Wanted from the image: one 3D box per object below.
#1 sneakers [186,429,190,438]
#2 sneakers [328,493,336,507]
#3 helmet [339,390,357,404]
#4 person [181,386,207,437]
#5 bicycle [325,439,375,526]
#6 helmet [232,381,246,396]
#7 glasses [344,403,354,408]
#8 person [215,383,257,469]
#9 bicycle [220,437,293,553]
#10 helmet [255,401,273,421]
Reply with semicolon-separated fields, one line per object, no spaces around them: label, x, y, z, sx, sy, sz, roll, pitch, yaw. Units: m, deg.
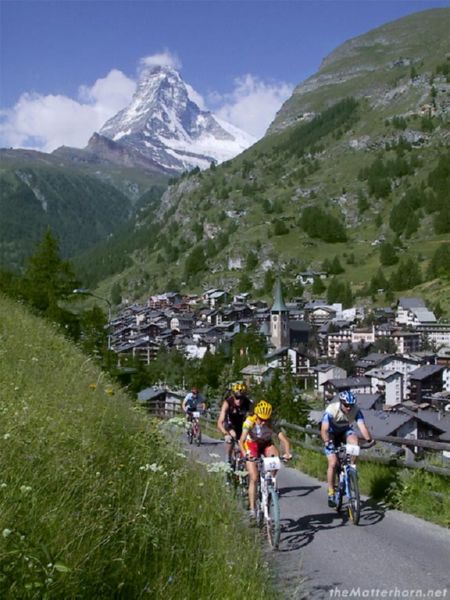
sneakers;-1.178;4.215;20.697;0.126;0.187;0.268;1;-11;-7
sneakers;1.674;3.110;10.121;0.075;0.106;0.235;3;13;5
helmet;1.855;1.487;9.856;0.220;0.220;0.256;-1;-3;7
person;-0.814;3.437;19.709;0.842;1.297;1.913;0;-7;-9
bicycle;1.832;2.864;9.987;0.561;0.896;1.325;0;-16;-1
helmet;0.266;1.527;11.059;0.234;0.265;0.200;14;0;-16
glasses;1.892;1.604;9.879;0.085;0.068;0.124;2;-6;-11
person;0.200;2.208;11.448;0.539;1.566;0.866;0;16;-4
bicycle;0.421;2.689;9.146;0.634;0.954;1.443;0;-7;-8
helmet;0.541;1.544;9.112;0.164;0.124;0.296;-1;33;-1
